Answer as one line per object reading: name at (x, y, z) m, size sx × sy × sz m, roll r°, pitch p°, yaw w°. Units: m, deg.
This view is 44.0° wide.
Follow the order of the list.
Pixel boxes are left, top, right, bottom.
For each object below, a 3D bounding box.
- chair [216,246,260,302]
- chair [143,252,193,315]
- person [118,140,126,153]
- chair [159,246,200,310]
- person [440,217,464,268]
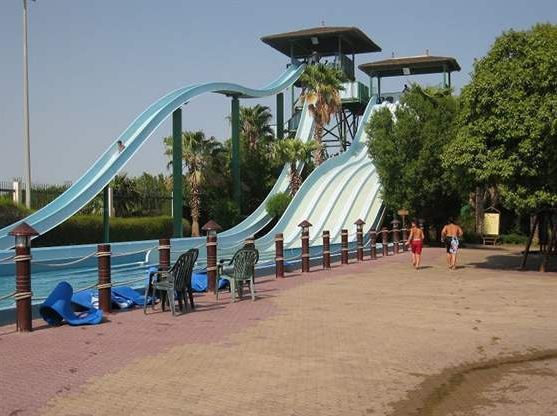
chair at (-0.852, 1.360, 14.953) m, size 0.752 × 1.282 × 0.827 m, roll -1°, pitch 5°, yaw -39°
chair at (-2.139, 1.408, 13.570) m, size 0.758 × 1.324 × 0.700 m, roll 6°, pitch 6°, yaw 20°
person at (-6.409, -2.582, 28.164) m, size 0.349 × 0.505 × 1.403 m, roll -2°, pitch 8°, yaw -13°
chair at (-2.107, 1.398, 13.602) m, size 0.767 × 1.315 × 0.680 m, roll 7°, pitch 10°, yaw 27°
person at (5.482, 1.014, 21.762) m, size 0.579 × 1.777 × 2.823 m, roll 2°, pitch 8°, yaw 14°
